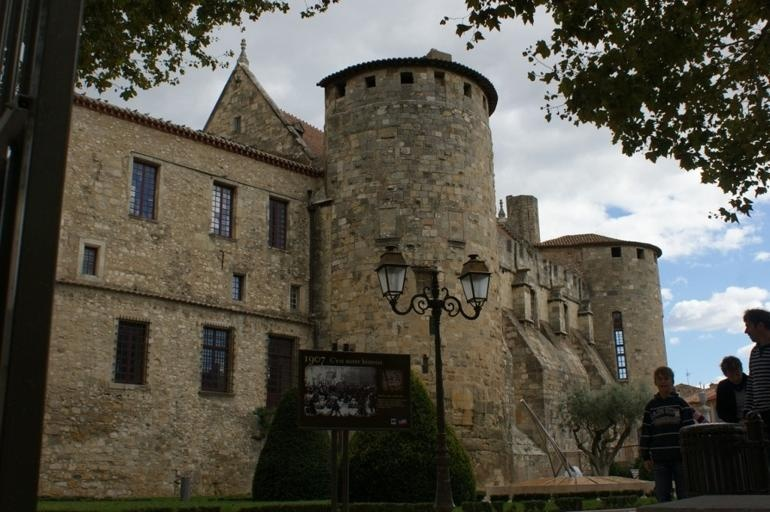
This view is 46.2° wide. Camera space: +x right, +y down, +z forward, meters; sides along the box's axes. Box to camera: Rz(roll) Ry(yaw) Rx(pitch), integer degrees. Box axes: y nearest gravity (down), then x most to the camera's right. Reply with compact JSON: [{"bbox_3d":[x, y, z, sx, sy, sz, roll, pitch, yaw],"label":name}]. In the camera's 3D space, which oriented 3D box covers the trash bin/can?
[{"bbox_3d":[3.963,2.444,10.831,0.787,0.849,0.786,2,-12,-26],"label":"trash bin/can"}]
